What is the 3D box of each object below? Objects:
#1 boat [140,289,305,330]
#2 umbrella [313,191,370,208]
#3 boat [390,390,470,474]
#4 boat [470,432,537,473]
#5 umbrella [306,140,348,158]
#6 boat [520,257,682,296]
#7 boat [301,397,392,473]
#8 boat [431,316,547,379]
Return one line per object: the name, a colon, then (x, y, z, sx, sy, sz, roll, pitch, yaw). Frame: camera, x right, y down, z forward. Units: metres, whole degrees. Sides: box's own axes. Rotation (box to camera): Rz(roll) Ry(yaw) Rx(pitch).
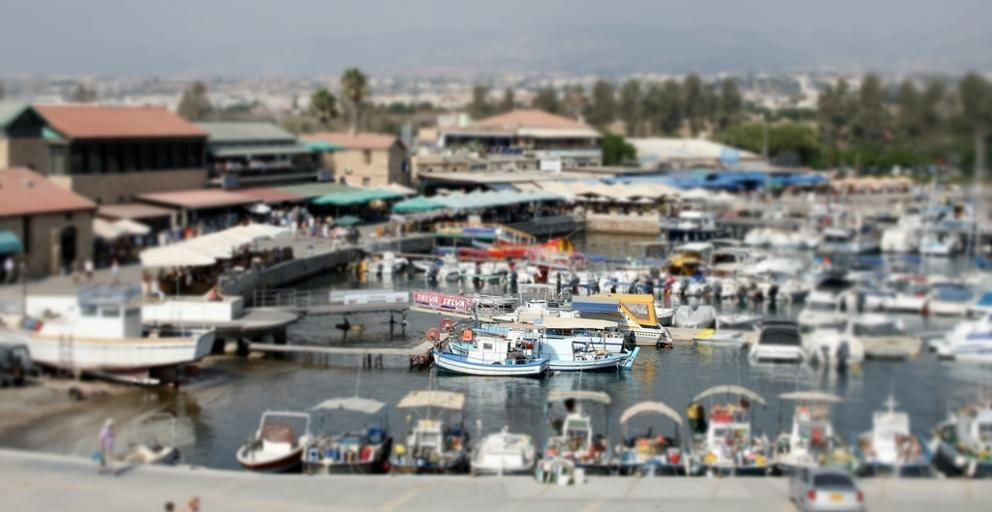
boat: (-9.400, 1.778, 45.677, 2.714, 1.330, 2.869, -1, -2, -11)
umbrella: (-6.952, -2.627, 63.037, 2.469, 0.765, 2.727, 0, 2, -1)
boat: (-2.022, 5.168, 39.988, 2.484, 2.003, 6.123, -4, 2, 1)
boat: (0.282, 5.301, 39.023, 1.838, 1.094, 2.715, 2, 10, 7)
umbrella: (-8.132, -5.146, 65.801, 0.631, 0.560, 2.410, 2, 3, 32)
boat: (3.690, 0.659, 56.296, 8.352, 1.857, 2.784, 0, -1, 8)
boat: (-4.340, 5.249, 39.080, 2.033, 1.790, 3.972, 1, 3, 6)
boat: (-0.192, 3.133, 44.660, 3.729, 1.243, 1.750, 2, 13, 12)
